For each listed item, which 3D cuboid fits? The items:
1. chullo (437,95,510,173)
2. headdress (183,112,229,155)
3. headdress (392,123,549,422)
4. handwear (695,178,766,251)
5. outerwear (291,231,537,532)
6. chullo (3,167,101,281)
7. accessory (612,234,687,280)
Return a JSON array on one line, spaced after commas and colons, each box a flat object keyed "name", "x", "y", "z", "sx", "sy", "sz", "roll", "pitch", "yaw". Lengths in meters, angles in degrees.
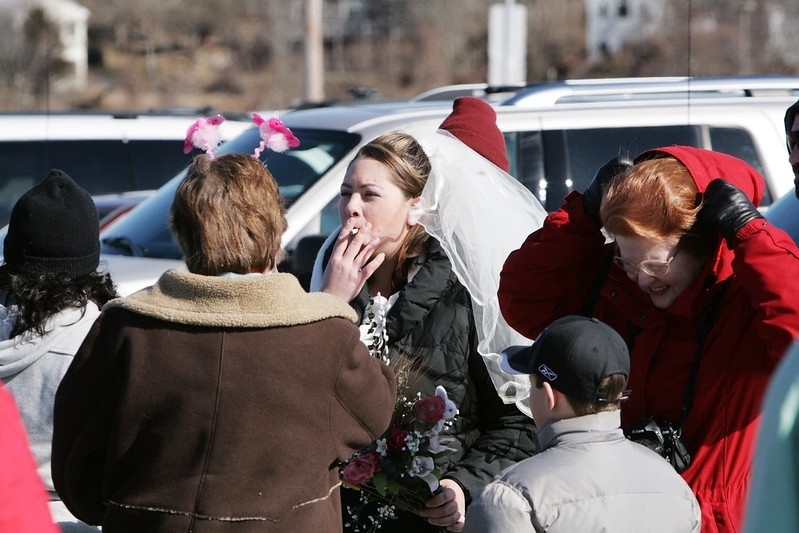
[{"name": "chullo", "x": 0.485, "y": -0.823, "z": 8.914, "sx": 0.338, "sy": 0.350, "sz": 0.488, "roll": 21, "pitch": 0, "yaw": 0}, {"name": "headdress", "x": -1.069, "y": -0.701, "z": 7.836, "sx": 0.200, "sy": 0.233, "sz": 0.107, "roll": -6, "pitch": -13, "yaw": -19}, {"name": "headdress", "x": 0.504, "y": -0.058, "z": 8.257, "sx": 0.390, "sy": 1.532, "sz": 0.954, "roll": -40, "pitch": -20, "yaw": 32}, {"name": "handwear", "x": 1.755, "y": -0.268, "z": 7.585, "sx": 0.380, "sy": 0.284, "sz": 0.150, "roll": 40, "pitch": 11, "yaw": 27}, {"name": "outerwear", "x": -0.056, "y": 0.781, "z": 8.704, "sx": 1.506, "sy": 2.095, "sz": 1.250, "roll": -12, "pitch": -12, "yaw": 30}, {"name": "chullo", "x": -2.037, "y": -0.245, "z": 8.161, "sx": 0.500, "sy": 0.536, "sz": 0.536, "roll": 1, "pitch": 2, "yaw": -38}, {"name": "accessory", "x": 1.323, "y": -0.052, "z": 7.626, "sx": 0.329, "sy": 0.225, "sz": 0.089, "roll": 1, "pitch": 5, "yaw": 12}]
